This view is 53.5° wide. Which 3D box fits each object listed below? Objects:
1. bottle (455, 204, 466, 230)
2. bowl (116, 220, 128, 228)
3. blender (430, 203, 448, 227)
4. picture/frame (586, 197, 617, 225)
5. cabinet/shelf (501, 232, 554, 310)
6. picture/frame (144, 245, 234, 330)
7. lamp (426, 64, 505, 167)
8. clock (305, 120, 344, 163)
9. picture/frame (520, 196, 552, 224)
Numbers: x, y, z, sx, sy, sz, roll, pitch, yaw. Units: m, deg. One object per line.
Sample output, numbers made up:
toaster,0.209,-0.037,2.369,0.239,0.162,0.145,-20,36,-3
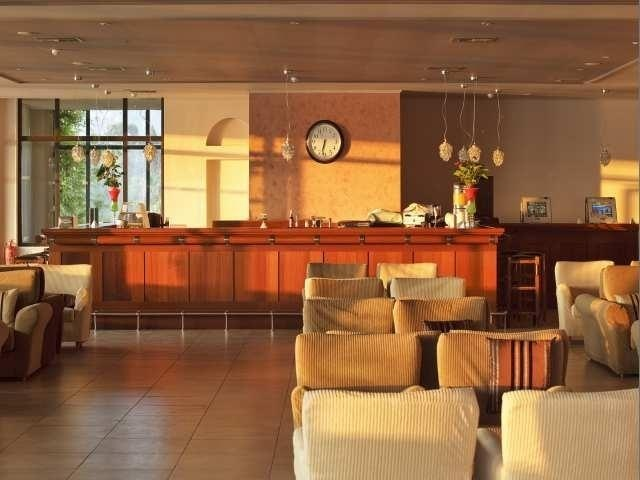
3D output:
bottle,2.075,-0.350,9.343,0.183,0.286,0.149,2,7,13
bowl,-3.037,-0.246,9.691,0.116,0.122,0.089,0,-11,-8
blender,1.802,-0.352,9.587,0.243,0.289,0.553,2,7,13
picture/frame,5.513,-0.561,12.435,0.543,0.548,0.229,0,-7,3
cabinet/shelf,3.347,0.467,10.322,0.833,1.258,1.263,-1,-1,9
picture/frame,-1.933,0.557,9.337,1.291,0.922,0.155,1,7,1
lamp,2.969,-2.548,13.212,2.060,2.827,0.584,0,2,-13
clock,0.095,-1.976,12.576,0.801,0.919,0.150,1,1,5
picture/frame,4.080,-0.565,11.978,0.522,0.434,0.453,3,7,18
